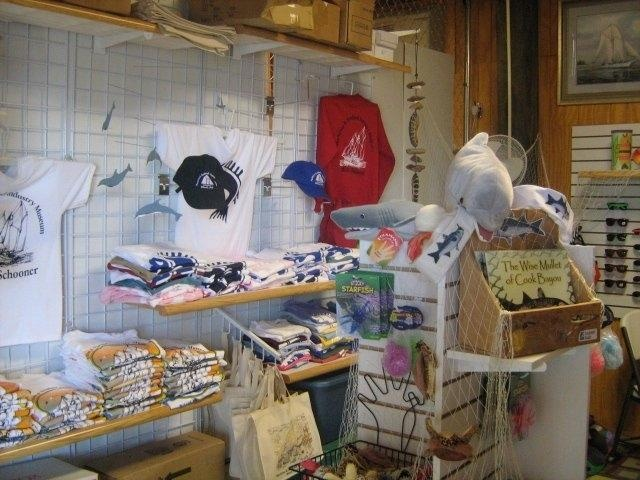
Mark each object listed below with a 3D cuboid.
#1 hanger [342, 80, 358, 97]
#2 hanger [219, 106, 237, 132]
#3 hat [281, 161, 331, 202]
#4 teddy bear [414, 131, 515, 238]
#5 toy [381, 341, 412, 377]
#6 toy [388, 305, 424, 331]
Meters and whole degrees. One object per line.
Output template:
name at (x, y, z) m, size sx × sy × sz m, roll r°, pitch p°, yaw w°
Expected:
hanger at (0.223, -1.147, 3.983) m, size 0.099 × 0.108 × 0.187 m, roll 0°, pitch -7°, yaw 6°
hanger at (-0.569, -0.763, 3.320) m, size 0.024 × 0.150 × 0.124 m, roll 1°, pitch 6°, yaw 32°
hat at (-0.080, -0.421, 3.621) m, size 0.313 × 0.180 × 0.204 m, roll 34°, pitch 13°, yaw 11°
teddy bear at (0.595, -0.213, 1.988) m, size 0.233 × 0.376 × 0.215 m, roll -1°, pitch 5°, yaw 14°
toy at (0.306, 0.477, 2.108) m, size 0.047 × 0.160 × 0.117 m, roll -6°, pitch 7°, yaw -42°
toy at (0.334, 0.303, 2.078) m, size 0.145 × 0.101 × 0.044 m, roll 2°, pitch 6°, yaw 36°
